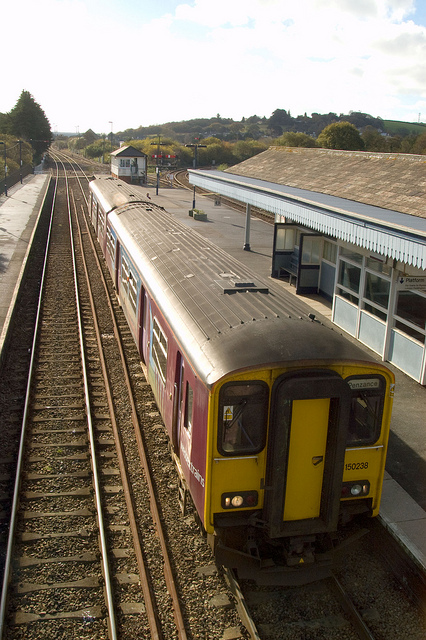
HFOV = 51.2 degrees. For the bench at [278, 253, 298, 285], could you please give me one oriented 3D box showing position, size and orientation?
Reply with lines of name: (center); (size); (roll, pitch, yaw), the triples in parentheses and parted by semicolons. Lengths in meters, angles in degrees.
bench: (3.127, -2.163, 18.720); (0.611, 1.314, 1.676); (-1, 22, -8)
